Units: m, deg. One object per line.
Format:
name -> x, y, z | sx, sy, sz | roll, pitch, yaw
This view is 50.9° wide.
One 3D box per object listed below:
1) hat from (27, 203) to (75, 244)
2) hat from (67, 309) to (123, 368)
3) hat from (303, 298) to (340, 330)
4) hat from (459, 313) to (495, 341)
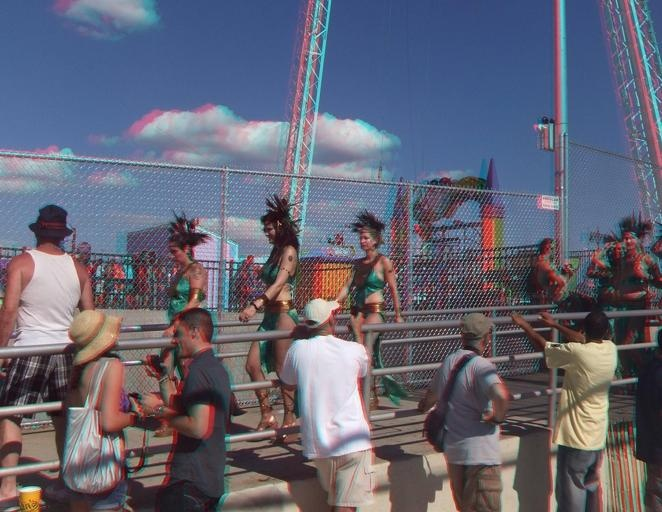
hat -> -2.117, -0.234, 5.264 | 0.320, 0.201, 0.384 | 8, 22, -18
hat -> -1.561, 0.507, 4.640 | 0.182, 0.366, 0.299 | 34, -54, -23
hat -> -0.068, 0.428, 5.191 | 0.162, 0.137, 0.235 | 17, 46, 44
hat -> 1.197, 0.594, 5.729 | 0.274, 0.332, 0.134 | -7, -40, 19
